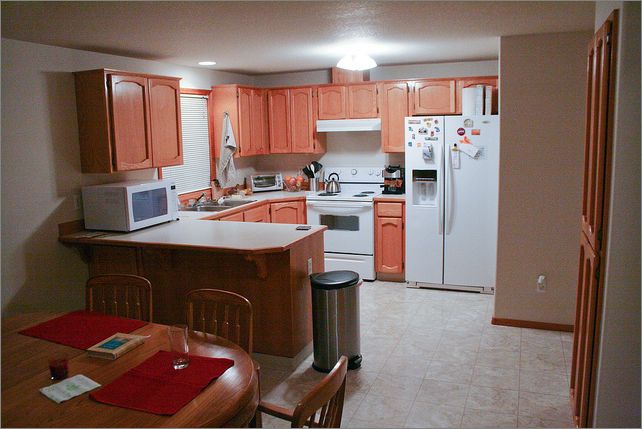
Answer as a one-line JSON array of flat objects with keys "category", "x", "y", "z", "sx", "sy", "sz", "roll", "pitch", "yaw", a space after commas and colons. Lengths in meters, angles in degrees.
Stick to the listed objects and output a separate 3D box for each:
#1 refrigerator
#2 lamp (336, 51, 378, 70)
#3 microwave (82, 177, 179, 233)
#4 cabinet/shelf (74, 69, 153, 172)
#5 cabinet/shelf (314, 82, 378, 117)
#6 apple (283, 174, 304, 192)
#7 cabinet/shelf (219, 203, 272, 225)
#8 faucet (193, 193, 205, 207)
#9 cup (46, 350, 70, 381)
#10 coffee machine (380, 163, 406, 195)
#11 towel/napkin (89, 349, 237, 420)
[{"category": "refrigerator", "x": 1.576, "y": -0.153, "z": 5.638, "sx": 1.069, "sy": 2.079, "sz": 0.292, "roll": -1, "pitch": 11, "yaw": 12}, {"category": "lamp", "x": 0.401, "y": -1.682, "z": 5.083, "sx": 0.314, "sy": 0.090, "sz": 0.318, "roll": -5, "pitch": 8, "yaw": -33}, {"category": "microwave", "x": -1.982, "y": -0.231, "z": 4.718, "sx": 0.575, "sy": 0.458, "sz": 0.814, "roll": 3, "pitch": 10, "yaw": 20}, {"category": "cabinet/shelf", "x": -2.185, "y": -0.910, "z": 4.542, "sx": 0.489, "sy": 0.985, "sz": 0.225, "roll": -2, "pitch": 10, "yaw": 4}, {"category": "cabinet/shelf", "x": 0.367, "y": -1.576, "z": 6.292, "sx": 0.569, "sy": 0.300, "sz": 0.190, "roll": 2, "pitch": 9, "yaw": 20}, {"category": "apple", "x": -0.425, "y": -0.463, "z": 6.947, "sx": 0.265, "sy": 0.157, "sz": 0.247, "roll": 1, "pitch": 1, "yaw": -4}, {"category": "cabinet/shelf", "x": -0.891, "y": 0.009, "z": 5.942, "sx": 0.282, "sy": 0.304, "sz": 0.490, "roll": 3, "pitch": 10, "yaw": 16}, {"category": "faucet", "x": -1.578, "y": -0.182, "z": 5.991, "sx": 0.121, "sy": 0.138, "sz": 0.245, "roll": 0, "pitch": 9, "yaw": 15}, {"category": "cup", "x": -1.519, "y": 0.863, "z": 2.634, "sx": 0.123, "sy": 0.142, "sz": 0.179, "roll": 2, "pitch": 3, "yaw": -7}, {"category": "coffee machine", "x": 0.991, "y": -0.477, "z": 6.300, "sx": 0.327, "sy": 0.442, "sz": 0.400, "roll": 0, "pitch": 0, "yaw": 34}, {"category": "towel/napkin", "x": -0.863, "y": 0.929, "z": 2.531, "sx": 0.606, "sy": 0.115, "sz": 0.444, "roll": 0, "pitch": 9, "yaw": 16}]
